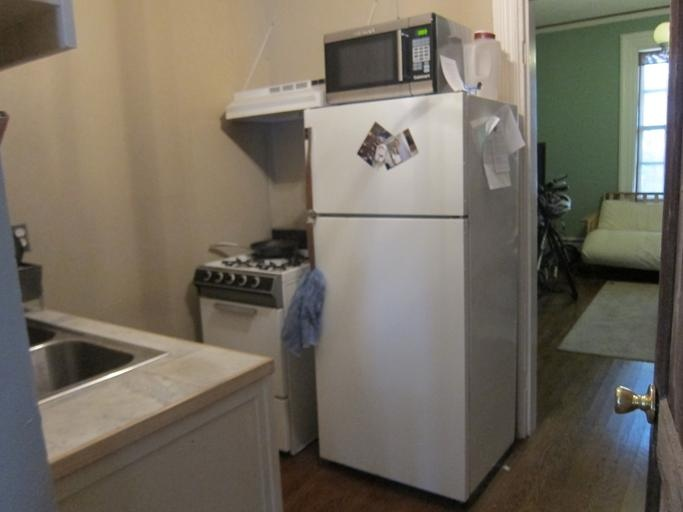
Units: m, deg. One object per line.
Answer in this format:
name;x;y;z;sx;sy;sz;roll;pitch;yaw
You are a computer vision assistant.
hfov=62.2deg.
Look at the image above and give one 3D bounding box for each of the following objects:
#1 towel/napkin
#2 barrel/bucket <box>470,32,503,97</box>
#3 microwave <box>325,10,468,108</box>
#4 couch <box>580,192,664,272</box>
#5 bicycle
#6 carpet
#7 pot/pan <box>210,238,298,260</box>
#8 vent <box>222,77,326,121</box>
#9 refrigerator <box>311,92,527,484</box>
towel/napkin;-0.164;0.257;2.730;0.155;0.342;0.133;2;3;-20
barrel/bucket;0.722;-0.938;2.820;0.131;0.352;0.138;-2;6;0
microwave;0.306;-0.867;2.740;0.602;0.446;0.500;11;11;43
couch;3.174;-0.206;6.387;0.745;0.749;1.394;3;13;29
bicycle;2.321;-0.185;6.070;0.379;1.394;0.493;5;9;17
carpet;2.395;0.520;4.922;0.635;0.042;2.010;4;13;31
pot/pan;-0.471;-0.067;3.098;0.322;0.116;0.404;9;10;39
vent;-0.310;-0.803;3.022;0.500;0.222;0.425;8;10;34
refrigerator;0.435;0.152;2.953;0.935;1.831;0.822;4;7;27
